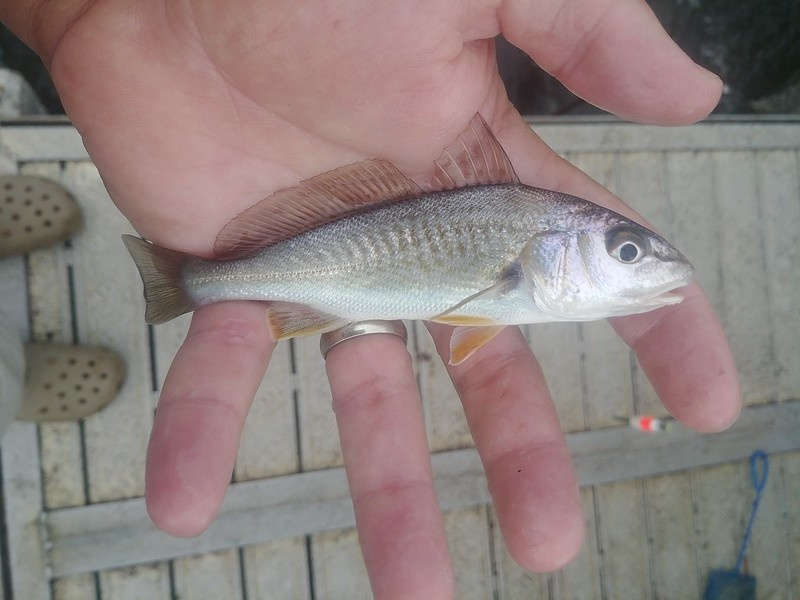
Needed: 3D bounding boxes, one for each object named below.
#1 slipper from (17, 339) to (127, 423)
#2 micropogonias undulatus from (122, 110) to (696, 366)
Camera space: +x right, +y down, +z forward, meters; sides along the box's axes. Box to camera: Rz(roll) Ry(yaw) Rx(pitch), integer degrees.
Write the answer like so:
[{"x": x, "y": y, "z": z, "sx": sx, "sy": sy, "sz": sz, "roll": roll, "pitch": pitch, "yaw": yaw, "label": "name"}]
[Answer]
[{"x": -1.364, "y": 0.349, "z": 4.915, "sx": 0.379, "sy": 0.199, "sz": 0.305, "roll": 5, "pitch": 90, "yaw": 0, "label": "slipper"}, {"x": 0.044, "y": -0.141, "z": 4.492, "sx": 2.025, "sy": 0.333, "sz": 0.799, "roll": -11, "pitch": 90, "yaw": -1, "label": "micropogonias undulatus"}]
